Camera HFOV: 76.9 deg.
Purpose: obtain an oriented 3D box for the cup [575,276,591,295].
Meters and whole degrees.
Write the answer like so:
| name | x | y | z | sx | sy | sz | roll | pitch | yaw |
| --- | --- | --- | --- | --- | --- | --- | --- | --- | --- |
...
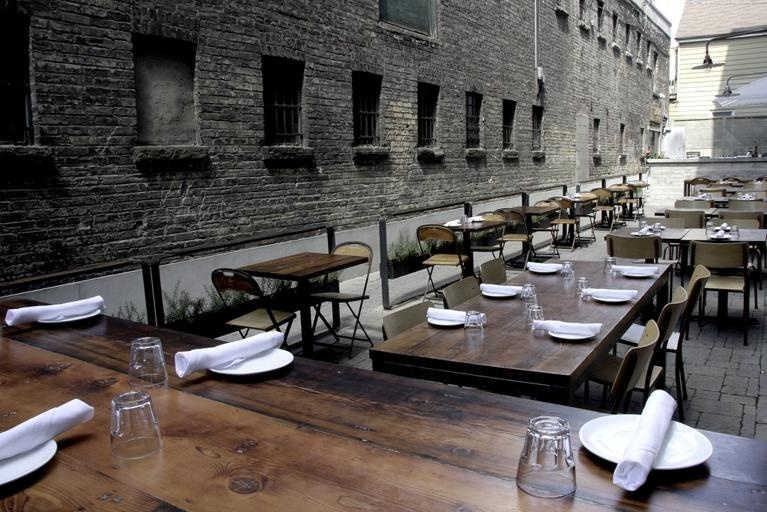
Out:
| name | x | y | z | sx | sy | sz | roll | pitch | yaw |
| --- | --- | --- | --- | --- | --- | --- | --- | --- | --- |
| cup | 1.567 | 0.233 | 3.803 | 0.155 | 0.169 | 0.140 | -1 | -2 | 7 |

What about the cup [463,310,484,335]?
| name | x | y | z | sx | sy | sz | roll | pitch | yaw |
| --- | --- | --- | --- | --- | --- | --- | --- | --- | --- |
| cup | 0.585 | 0.430 | 3.093 | 0.145 | 0.120 | 0.138 | 0 | 0 | 0 |

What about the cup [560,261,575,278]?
| name | x | y | z | sx | sy | sz | roll | pitch | yaw |
| --- | --- | --- | --- | --- | --- | --- | --- | --- | --- |
| cup | 1.717 | 0.121 | 4.412 | 0.157 | 0.151 | 0.154 | -1 | 2 | 0 |

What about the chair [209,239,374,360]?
| name | x | y | z | sx | sy | sz | roll | pitch | yaw |
| --- | --- | --- | --- | --- | --- | --- | --- | --- | --- |
| chair | -1.017 | 0.471 | 5.472 | 1.318 | 0.889 | 1.395 | 7 | 13 | 41 |

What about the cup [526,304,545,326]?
| name | x | y | z | sx | sy | sz | roll | pitch | yaw |
| --- | --- | --- | --- | --- | --- | --- | --- | --- | --- |
| cup | 0.991 | 0.383 | 3.128 | 0.117 | 0.124 | 0.142 | 0 | 1 | 27 |

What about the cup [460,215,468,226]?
| name | x | y | z | sx | sy | sz | roll | pitch | yaw |
| --- | --- | --- | --- | --- | --- | --- | --- | --- | --- |
| cup | 1.401 | -0.625 | 8.311 | 0.166 | 0.146 | 0.166 | -1 | 0 | 0 |

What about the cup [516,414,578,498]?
| name | x | y | z | sx | sy | sz | roll | pitch | yaw |
| --- | --- | --- | --- | --- | --- | --- | --- | --- | --- |
| cup | 0.495 | 0.637 | 1.636 | 0.262 | 0.239 | 0.243 | -1 | 12 | 0 |
